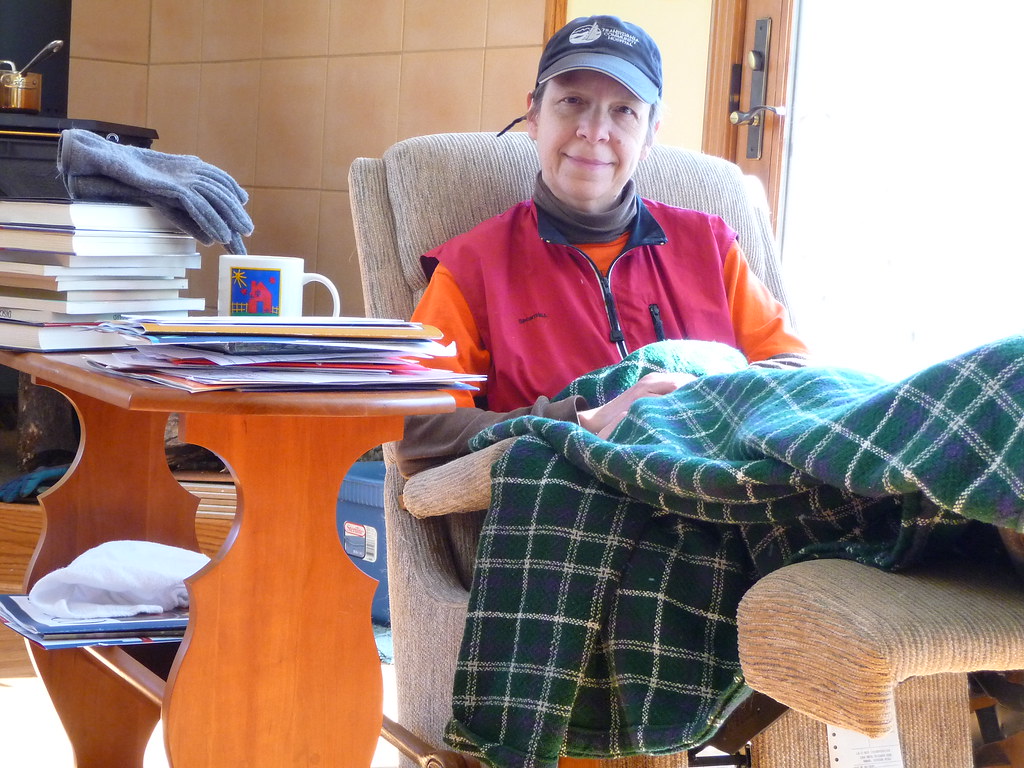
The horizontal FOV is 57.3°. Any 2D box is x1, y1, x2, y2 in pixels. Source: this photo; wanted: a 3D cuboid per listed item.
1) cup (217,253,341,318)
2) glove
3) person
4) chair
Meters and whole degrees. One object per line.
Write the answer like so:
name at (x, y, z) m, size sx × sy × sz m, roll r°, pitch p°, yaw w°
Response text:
cup at (-0.327, -0.131, 1.304) m, size 0.162 × 0.109 × 0.097 m, roll 3°, pitch 4°, yaw -1°
glove at (-0.494, -0.278, 1.353) m, size 0.233 × 0.096 × 0.226 m, roll 11°, pitch 7°, yaw -43°
person at (0.182, -0.166, 2.040) m, size 0.788 × 1.107 × 0.914 m, roll -6°, pitch -10°, yaw -23°
chair at (0.250, -0.019, 1.916) m, size 0.888 × 1.165 × 1.054 m, roll -1°, pitch 0°, yaw -17°
